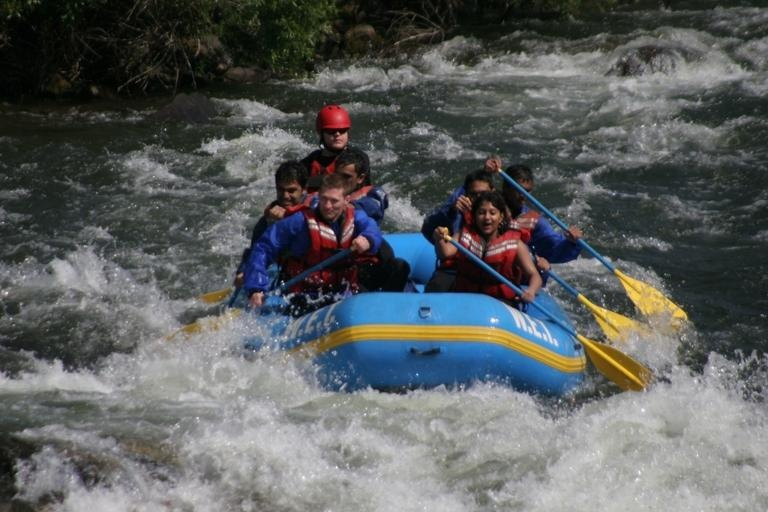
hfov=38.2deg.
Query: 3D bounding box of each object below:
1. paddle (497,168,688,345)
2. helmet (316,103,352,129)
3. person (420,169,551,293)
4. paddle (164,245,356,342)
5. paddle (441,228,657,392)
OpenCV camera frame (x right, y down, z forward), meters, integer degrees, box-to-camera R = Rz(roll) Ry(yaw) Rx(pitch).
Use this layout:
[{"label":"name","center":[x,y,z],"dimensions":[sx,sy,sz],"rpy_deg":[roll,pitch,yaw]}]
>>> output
[{"label":"paddle","center":[3.246,0.110,17.220],"dimensions":[0.163,3.442,0.634],"rpy_deg":[-24,29,57]},{"label":"helmet","center":[-0.833,-2.105,16.852],"dimensions":[0.377,0.283,0.467],"rpy_deg":[-10,22,-30]},{"label":"person","center":[1.046,-0.561,16.266],"dimensions":[1.513,0.783,2.015],"rpy_deg":[7,45,11]},{"label":"paddle","center":[-1.747,0.597,16.071],"dimensions":[2.196,0.128,0.238],"rpy_deg":[-34,30,-8]},{"label":"paddle","center":[2.293,0.854,15.912],"dimensions":[3.345,0.354,0.460],"rpy_deg":[36,58,6]}]
